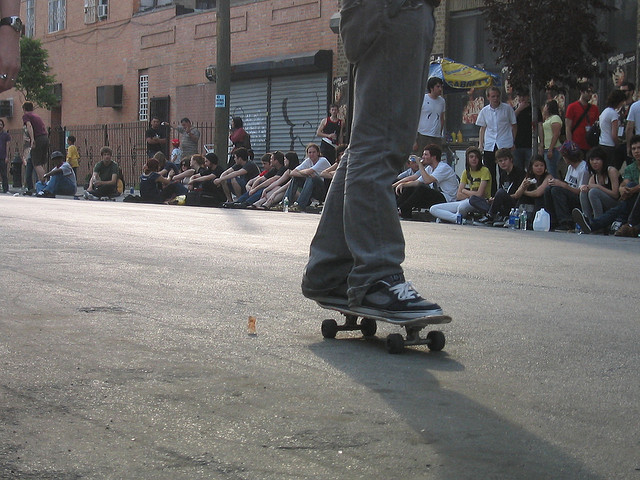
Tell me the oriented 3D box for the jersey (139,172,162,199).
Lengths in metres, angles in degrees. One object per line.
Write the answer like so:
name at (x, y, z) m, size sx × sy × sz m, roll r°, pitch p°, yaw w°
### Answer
jersey at (-3.810, -1.250, 18.020) m, size 0.528 × 0.530 × 0.303 m, roll 3°, pitch 7°, yaw 29°

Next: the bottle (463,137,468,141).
bottle at (3.701, -2.610, 20.426) m, size 0.151 × 0.159 × 0.087 m, roll -1°, pitch -5°, yaw 13°

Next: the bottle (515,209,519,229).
bottle at (2.811, -0.317, 11.456) m, size 0.056 × 0.257 × 0.098 m, roll 2°, pitch 5°, yaw 8°

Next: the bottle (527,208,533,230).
bottle at (2.996, -0.323, 11.424) m, size 0.071 × 0.293 × 0.129 m, roll 3°, pitch 6°, yaw 13°

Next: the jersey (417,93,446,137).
jersey at (2.082, -2.351, 15.067) m, size 0.550 × 0.771 × 0.386 m, roll 0°, pitch 6°, yaw -14°

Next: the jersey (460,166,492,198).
jersey at (2.471, -0.913, 12.718) m, size 0.492 × 0.529 × 0.281 m, roll 0°, pitch 10°, yaw 29°

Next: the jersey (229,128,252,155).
jersey at (-2.233, -2.715, 21.285) m, size 0.465 × 0.587 × 0.345 m, roll 6°, pitch 7°, yaw 41°

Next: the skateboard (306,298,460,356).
skateboard at (0.243, 0.368, 3.655) m, size 0.241 × 0.192 × 0.846 m, roll 1°, pitch -3°, yaw -31°

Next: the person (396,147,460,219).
person at (1.843, -1.000, 13.733) m, size 1.201 × 1.187 × 0.714 m, roll 0°, pitch 3°, yaw -14°

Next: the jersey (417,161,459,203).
jersey at (1.963, -0.907, 13.628) m, size 0.826 × 0.853 × 0.621 m, roll 0°, pitch -1°, yaw -31°

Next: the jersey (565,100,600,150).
jersey at (4.251, -1.886, 13.015) m, size 0.510 × 0.780 × 0.332 m, roll 3°, pitch 6°, yaw 16°

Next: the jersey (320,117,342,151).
jersey at (0.260, -2.500, 18.676) m, size 0.419 × 0.766 × 0.496 m, roll 2°, pitch 5°, yaw 0°

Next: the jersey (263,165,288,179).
jersey at (-0.937, -1.415, 16.570) m, size 0.370 × 0.118 × 0.283 m, roll -3°, pitch 27°, yaw 12°

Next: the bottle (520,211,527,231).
bottle at (2.871, -0.299, 11.322) m, size 0.104 × 0.248 × 0.245 m, roll 3°, pitch 6°, yaw 14°

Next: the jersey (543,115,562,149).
jersey at (3.985, -1.912, 13.831) m, size 0.329 × 0.569 × 0.556 m, roll -3°, pitch 5°, yaw 7°

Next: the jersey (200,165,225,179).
jersey at (-2.444, -1.542, 17.960) m, size 0.396 × 0.250 × 0.293 m, roll 0°, pitch 3°, yaw 16°

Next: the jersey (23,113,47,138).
jersey at (-7.756, -3.150, 21.728) m, size 0.344 × 0.633 × 1.055 m, roll 2°, pitch 6°, yaw 5°

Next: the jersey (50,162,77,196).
jersey at (-6.807, -1.714, 21.654) m, size 0.695 × 0.942 × 0.747 m, roll -23°, pitch 15°, yaw -31°

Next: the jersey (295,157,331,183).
jersey at (-0.128, -1.384, 15.335) m, size 0.508 × 0.522 × 0.413 m, roll -12°, pitch 7°, yaw -16°

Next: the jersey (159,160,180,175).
jersey at (-3.791, -1.846, 19.946) m, size 0.400 × 0.170 × 0.308 m, roll 9°, pitch -2°, yaw -5°

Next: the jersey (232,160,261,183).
jersey at (-1.621, -1.525, 17.500) m, size 0.533 × 0.553 × 0.428 m, roll 0°, pitch 4°, yaw 3°

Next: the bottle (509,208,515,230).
bottle at (2.764, -0.327, 11.552) m, size 0.072 × 0.269 × 0.408 m, roll 3°, pitch 6°, yaw 12°

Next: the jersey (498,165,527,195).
jersey at (2.879, -0.870, 12.251) m, size 0.410 × 0.462 × 0.250 m, roll 1°, pitch -17°, yaw 35°

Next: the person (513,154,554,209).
person at (3.058, -0.859, 11.565) m, size 0.482 × 0.757 × 0.512 m, roll 3°, pitch 6°, yaw 13°

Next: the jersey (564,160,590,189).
jersey at (3.633, -0.941, 11.321) m, size 0.257 × 0.468 × 0.459 m, roll 6°, pitch -2°, yaw -25°

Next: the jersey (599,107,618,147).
jersey at (4.273, -1.697, 11.945) m, size 0.180 × 0.575 × 0.365 m, roll -2°, pitch 7°, yaw -35°

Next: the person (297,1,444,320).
person at (0.313, -0.388, 3.689) m, size 0.711 × 1.433 × 0.452 m, roll 6°, pitch 7°, yaw 41°

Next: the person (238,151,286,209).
person at (-1.252, -1.475, 16.603) m, size 1.192 × 0.870 × 0.468 m, roll 11°, pitch -1°, yaw -4°
